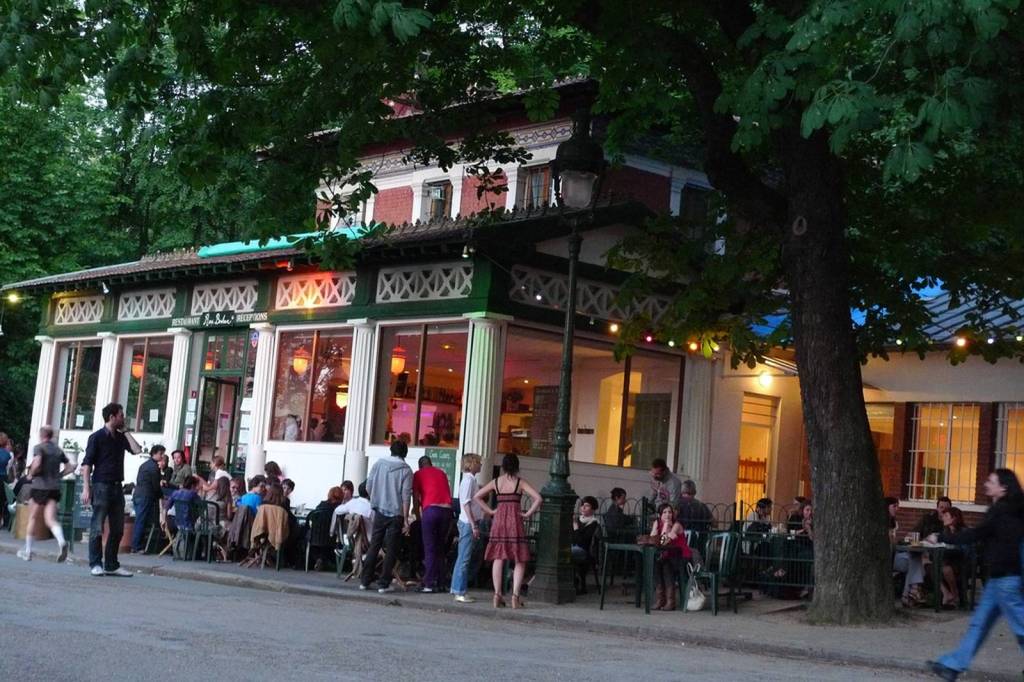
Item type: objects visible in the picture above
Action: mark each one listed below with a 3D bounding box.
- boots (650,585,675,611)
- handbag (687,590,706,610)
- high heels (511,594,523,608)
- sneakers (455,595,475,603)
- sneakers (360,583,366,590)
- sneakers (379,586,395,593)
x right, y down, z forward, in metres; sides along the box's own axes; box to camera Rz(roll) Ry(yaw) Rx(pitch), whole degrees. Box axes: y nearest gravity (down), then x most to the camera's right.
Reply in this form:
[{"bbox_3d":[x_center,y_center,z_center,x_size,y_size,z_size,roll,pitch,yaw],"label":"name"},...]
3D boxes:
[{"bbox_3d":[2.702,4.522,14.910,0.399,0.468,0.493,-12,-19,42],"label":"boots"},{"bbox_3d":[3.182,4.550,14.817,0.357,0.352,0.298,-9,-6,29],"label":"handbag"},{"bbox_3d":[0.069,4.388,14.214,0.149,0.250,0.241,2,-22,-4],"label":"high heels"},{"bbox_3d":[-0.818,4.482,14.698,0.300,0.134,0.121,-1,-10,17],"label":"sneakers"},{"bbox_3d":[-2.767,4.579,15.770,0.103,0.107,0.244,4,-11,-28],"label":"sneakers"},{"bbox_3d":[-2.324,4.604,15.676,0.132,0.153,0.374,-4,-15,26],"label":"sneakers"}]
